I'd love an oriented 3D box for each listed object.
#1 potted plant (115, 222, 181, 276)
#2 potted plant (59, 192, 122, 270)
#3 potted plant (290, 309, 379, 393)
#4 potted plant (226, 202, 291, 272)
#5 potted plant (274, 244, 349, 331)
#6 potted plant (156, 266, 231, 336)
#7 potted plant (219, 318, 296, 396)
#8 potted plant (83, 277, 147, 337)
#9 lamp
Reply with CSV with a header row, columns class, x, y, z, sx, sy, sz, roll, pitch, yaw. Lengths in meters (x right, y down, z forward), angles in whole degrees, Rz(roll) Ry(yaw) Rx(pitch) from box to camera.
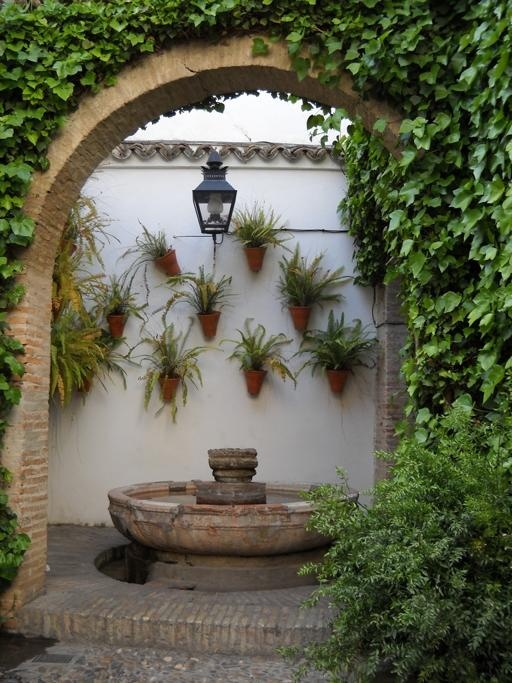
class,x,y,z,sx,sy,sz,roll,pitch,yaw
potted plant,-0.876,-0.730,7.087,0.364,0.385,0.591,-34,6,-22
potted plant,-1.402,-0.831,6.241,0.469,0.460,0.351,7,-24,25
potted plant,0.728,0.110,6.987,0.559,0.751,0.502,-6,9,-27
potted plant,-0.047,-0.858,7.049,0.484,0.438,0.436,1,7,0
potted plant,0.487,-0.437,7.004,0.669,0.635,0.464,8,11,40
potted plant,-0.379,-0.325,6.970,0.591,0.508,0.642,-7,-3,21
potted plant,0.006,0.160,7.007,0.666,0.682,0.362,-2,9,2
potted plant,-1.248,-0.228,7.051,0.562,0.403,0.520,4,-7,-9
lamp,-0.346,-1.197,6.457,0.329,0.647,0.419,-3,8,-4
